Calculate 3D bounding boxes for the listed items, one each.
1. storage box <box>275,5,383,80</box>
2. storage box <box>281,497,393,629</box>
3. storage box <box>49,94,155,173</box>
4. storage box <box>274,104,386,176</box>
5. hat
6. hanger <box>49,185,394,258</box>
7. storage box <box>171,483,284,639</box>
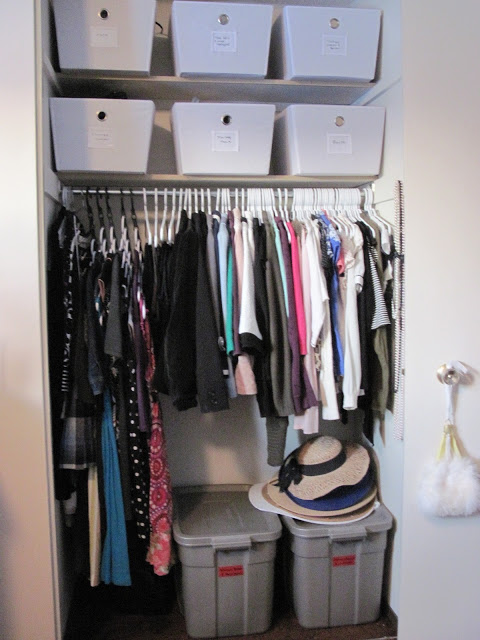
[{"bbox_3d":[0.293,-0.880,1.871,0.219,0.177,0.252,1,6,-3],"label":"storage box"},{"bbox_3d":[0.330,0.781,1.947,0.325,0.329,0.353,-1,-1,-3],"label":"storage box"},{"bbox_3d":[-0.435,-0.581,1.833,0.220,0.176,0.253,0,5,-6],"label":"storage box"},{"bbox_3d":[0.308,-0.601,2.014,0.227,0.184,0.260,0,4,-2],"label":"storage box"},{"bbox_3d":[0.267,0.570,2.025,0.314,0.141,0.275,-6,18,24],"label":"hat"},{"bbox_3d":[-0.050,-0.342,2.092,1.126,0.303,0.535,-4,7,2],"label":"hanger"},{"bbox_3d":[-0.049,0.854,2.049,0.239,0.298,0.424,0,-5,-5],"label":"storage box"}]
